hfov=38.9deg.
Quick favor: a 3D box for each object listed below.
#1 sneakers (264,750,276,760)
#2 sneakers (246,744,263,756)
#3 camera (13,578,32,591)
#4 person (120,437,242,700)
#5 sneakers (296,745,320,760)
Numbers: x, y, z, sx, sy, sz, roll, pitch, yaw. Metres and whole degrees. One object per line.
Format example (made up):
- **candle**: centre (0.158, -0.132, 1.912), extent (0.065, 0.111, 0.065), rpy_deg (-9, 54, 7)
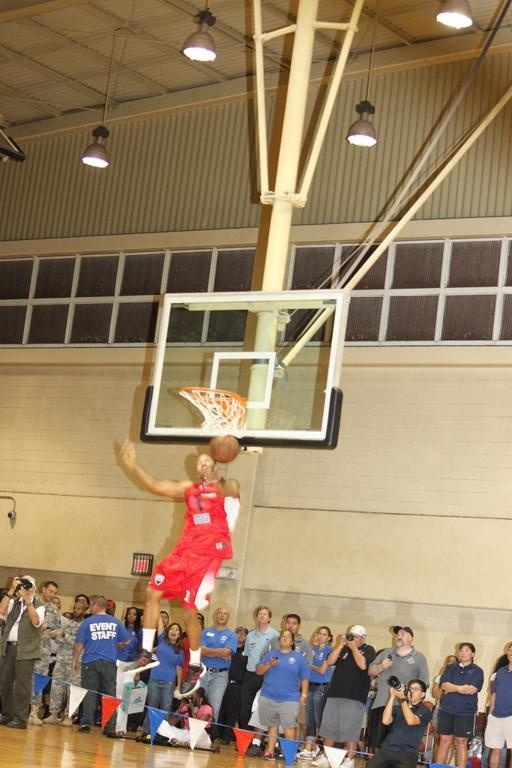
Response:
- **sneakers**: centre (0.127, 3.516, 6.892), extent (0.104, 0.084, 0.143), rpy_deg (8, -10, -1)
- **sneakers**: centre (-0.011, 3.554, 7.038), extent (0.063, 0.072, 0.176), rpy_deg (21, -24, 4)
- **camera**: centre (-2.109, 1.837, 6.656), extent (0.133, 0.105, 0.123), rpy_deg (8, -10, 0)
- **person**: centre (-0.525, 1.163, 4.471), extent (0.700, 1.520, 0.510), rpy_deg (9, -11, 0)
- **sneakers**: centre (0.526, 3.641, 7.160), extent (0.296, 0.111, 0.095), rpy_deg (8, -16, -20)
